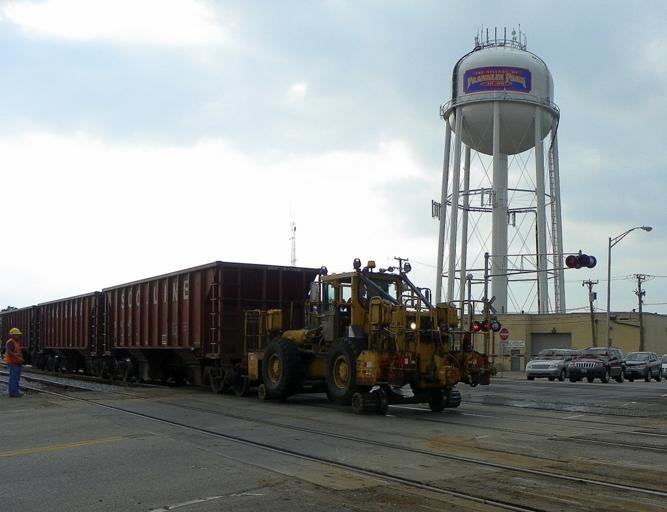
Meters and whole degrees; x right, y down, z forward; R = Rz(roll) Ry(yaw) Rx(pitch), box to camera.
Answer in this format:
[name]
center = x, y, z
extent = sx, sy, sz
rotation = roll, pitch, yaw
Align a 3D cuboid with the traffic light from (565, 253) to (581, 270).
[traffic light]
center = 11.899, 0.220, 31.988
extent = 0.659, 0.791, 1.300
rotation = 5, 0, 9
